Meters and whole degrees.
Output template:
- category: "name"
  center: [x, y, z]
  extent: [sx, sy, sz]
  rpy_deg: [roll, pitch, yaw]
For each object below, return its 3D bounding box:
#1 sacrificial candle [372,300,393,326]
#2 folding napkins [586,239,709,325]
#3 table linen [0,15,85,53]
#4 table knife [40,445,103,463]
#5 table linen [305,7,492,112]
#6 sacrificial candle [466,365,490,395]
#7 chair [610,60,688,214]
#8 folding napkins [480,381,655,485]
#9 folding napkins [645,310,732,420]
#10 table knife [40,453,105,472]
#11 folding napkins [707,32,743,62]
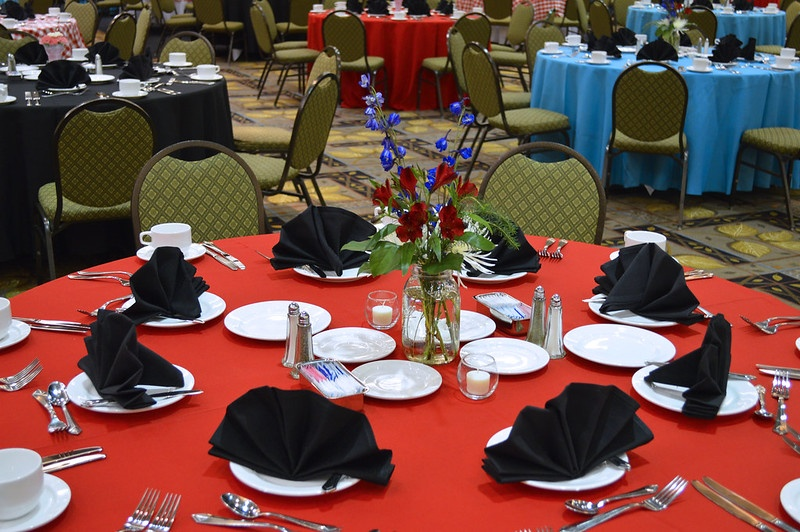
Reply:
- category: "sacrificial candle"
  center: [-0.053, 0.133, 1.826]
  extent: [0.055, 0.072, 0.059]
  rpy_deg: [0, 19, 0]
- category: "folding napkins"
  center: [0.773, 0.074, 1.906]
  extent: [0.249, 0.114, 0.272]
  rpy_deg: [-7, 30, 1]
- category: "table linen"
  center: [-3.577, -2.281, 6.090]
  extent: [0.747, 0.234, 0.835]
  rpy_deg: [0, 19, -9]
- category: "table knife"
  center: [-0.735, 0.419, 1.372]
  extent: [0.106, 0.009, 0.025]
  rpy_deg: [-9, 24, -29]
- category: "table linen"
  center: [0.010, -2.563, 7.717]
  extent: [1.525, 1.103, 1.648]
  rpy_deg: [-1, 17, -4]
- category: "sacrificial candle"
  center: [0.197, 0.292, 1.553]
  extent: [0.057, 0.067, 0.061]
  rpy_deg: [1, 11, 10]
- category: "chair"
  center: [1.935, -0.980, 4.822]
  extent: [0.633, 1.174, 0.341]
  rpy_deg: [7, 21, 22]
- category: "folding napkins"
  center: [0.372, 0.368, 1.348]
  extent: [0.269, 0.103, 0.209]
  rpy_deg: [-8, 29, -22]
- category: "folding napkins"
  center: [0.767, 0.250, 1.568]
  extent: [0.166, 0.088, 0.231]
  rpy_deg: [-2, 42, 17]
- category: "table knife"
  center: [-0.720, 0.430, 1.350]
  extent: [0.122, 0.011, 0.028]
  rpy_deg: [-13, 26, -32]
- category: "folding napkins"
  center: [2.881, -1.903, 5.440]
  extent: [0.230, 0.261, 0.073]
  rpy_deg: [7, 8, 11]
